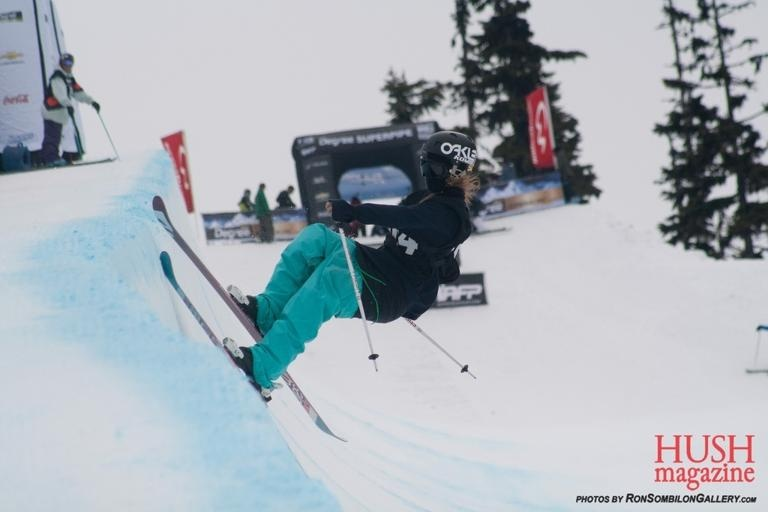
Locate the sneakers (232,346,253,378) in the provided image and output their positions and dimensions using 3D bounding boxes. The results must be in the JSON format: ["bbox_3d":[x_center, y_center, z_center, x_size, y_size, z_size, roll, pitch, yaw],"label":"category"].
[{"bbox_3d":[-1.673,1.290,11.813,0.204,0.364,0.132,-34,10,4],"label":"sneakers"}]

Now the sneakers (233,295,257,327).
[{"bbox_3d":[-1.701,0.686,12.266,0.212,0.353,0.130,-36,10,42],"label":"sneakers"}]

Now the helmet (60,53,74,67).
[{"bbox_3d":[-5.234,-3.228,16.012,0.205,0.237,0.389,-3,5,-19],"label":"helmet"}]

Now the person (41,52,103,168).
[{"bbox_3d":[-5.206,-2.430,15.948,0.927,1.886,0.633,2,6,39],"label":"person"}]

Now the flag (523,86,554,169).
[{"bbox_3d":[3.503,-2.805,21.433,0.483,1.778,1.391,-2,5,-2],"label":"flag"}]
